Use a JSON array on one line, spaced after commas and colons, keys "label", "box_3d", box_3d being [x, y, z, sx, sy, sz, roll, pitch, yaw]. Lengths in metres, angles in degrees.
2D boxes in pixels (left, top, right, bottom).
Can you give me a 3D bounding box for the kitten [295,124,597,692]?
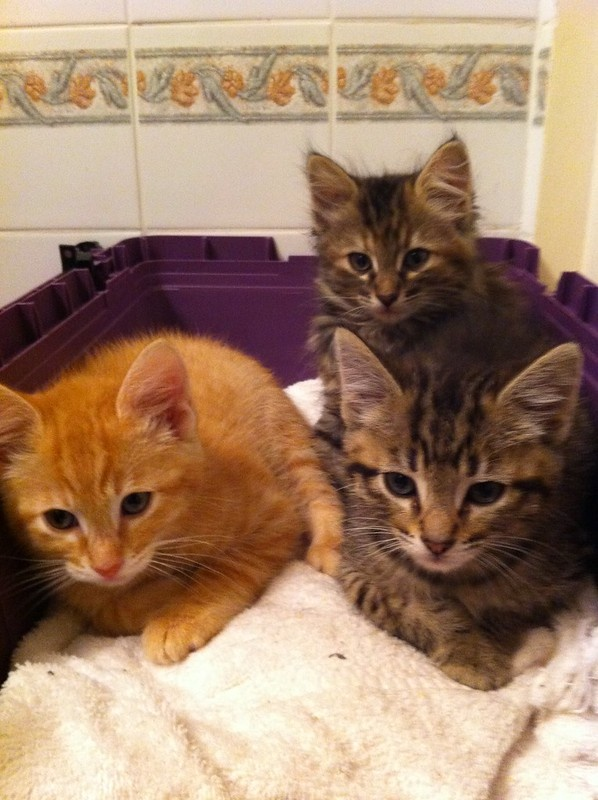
[{"label": "kitten", "box_3d": [0.317, -0.054, 1.705, 0.604, 0.587, 1.239, 3, 49, 2]}]
